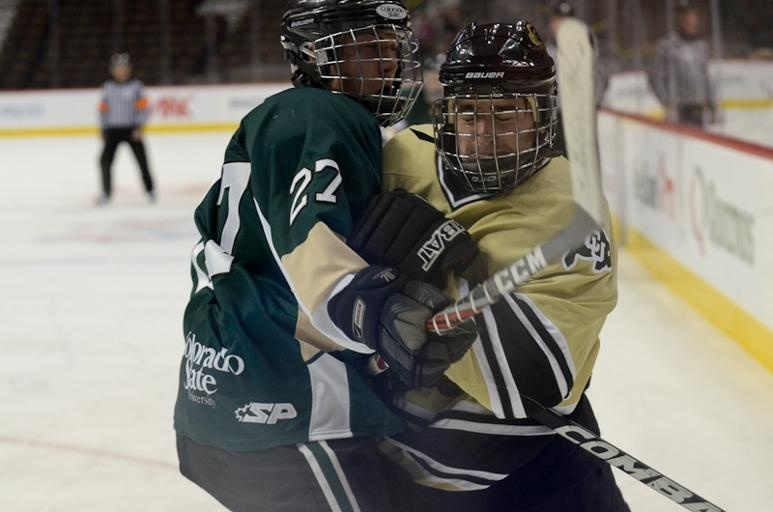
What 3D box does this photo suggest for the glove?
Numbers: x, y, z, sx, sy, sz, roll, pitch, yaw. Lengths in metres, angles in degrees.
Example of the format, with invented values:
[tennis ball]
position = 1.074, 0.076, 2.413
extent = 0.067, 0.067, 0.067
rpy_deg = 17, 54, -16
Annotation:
[glove]
position = 0.091, 0.140, 2.653
extent = 0.538, 0.500, 0.232
rpy_deg = -44, -14, -15

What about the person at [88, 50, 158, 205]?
[person]
position = -2.914, -1.427, 9.219
extent = 0.616, 1.514, 1.439
rpy_deg = -6, 15, -16

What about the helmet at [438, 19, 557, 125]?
[helmet]
position = 0.392, -0.616, 2.934
extent = 0.300, 0.331, 0.369
rpy_deg = -2, -4, 9
